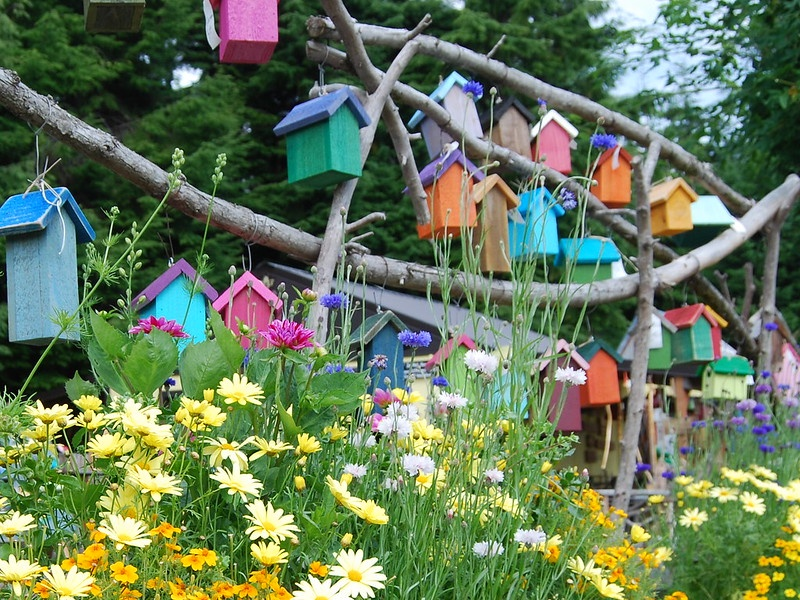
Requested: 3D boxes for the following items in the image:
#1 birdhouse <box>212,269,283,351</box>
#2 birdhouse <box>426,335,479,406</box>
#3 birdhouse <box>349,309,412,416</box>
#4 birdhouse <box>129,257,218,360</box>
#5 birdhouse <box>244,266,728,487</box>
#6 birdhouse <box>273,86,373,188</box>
[{"bbox_3d":[-1.079,0.287,10.405,0.475,0.507,0.728,-1,39,-8],"label":"birdhouse"},{"bbox_3d":[0.425,0.456,10.014,0.311,0.410,0.326,-1,5,29],"label":"birdhouse"},{"bbox_3d":[-0.148,0.420,10.717,0.380,0.652,0.447,-2,4,19],"label":"birdhouse"},{"bbox_3d":[-1.578,-0.105,10.485,0.474,0.775,0.606,0,35,-13],"label":"birdhouse"},{"bbox_3d":[0.625,0.580,10.564,2.124,0.901,0.689,32,-25,-17],"label":"birdhouse"},{"bbox_3d":[-0.557,-1.164,10.635,0.498,0.676,0.523,-9,-10,34],"label":"birdhouse"}]
